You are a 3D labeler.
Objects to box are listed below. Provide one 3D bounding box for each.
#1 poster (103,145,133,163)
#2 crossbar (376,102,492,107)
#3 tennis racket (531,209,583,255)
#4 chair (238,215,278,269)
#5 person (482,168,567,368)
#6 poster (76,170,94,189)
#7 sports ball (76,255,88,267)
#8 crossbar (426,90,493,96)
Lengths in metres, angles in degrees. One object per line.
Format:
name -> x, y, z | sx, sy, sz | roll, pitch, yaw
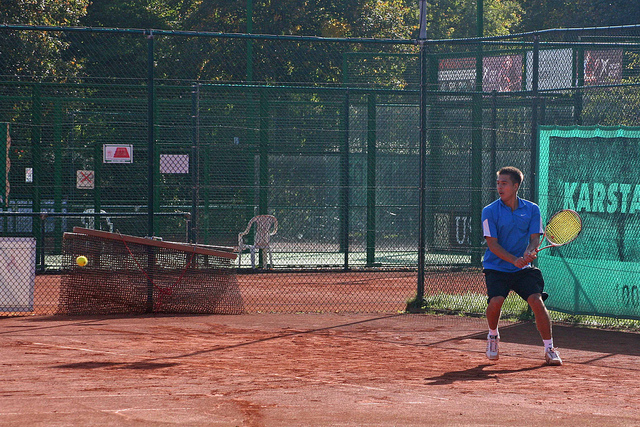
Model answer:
poster -> -4.378, -1.298, 19.846 | 0.533, 0.405, 0.130 | -3, 3, -9
crossbar -> 2.308, -2.234, 18.842 | 1.022, 0.089, 3.097 | -2, 7, -22
tennis racket -> 3.170, 0.186, 12.097 | 0.494, 0.461, 0.255 | 2, 7, 15
chair -> -1.252, 0.588, 19.387 | 0.896, 1.436, 0.986 | -1, -8, 12
person -> 2.596, 0.659, 11.993 | 0.928, 2.487, 0.717 | 2, 7, 11
poster -> -5.151, -0.749, 20.231 | 0.371, 0.420, 0.279 | -1, 7, -11
sports ball -> -3.691, 0.736, 14.263 | 0.169, 0.178, 0.183 | 1, 7, 0
crossbar -> 2.736, -2.367, 18.065 | 1.199, 0.107, 0.566 | 5, 8, 33
